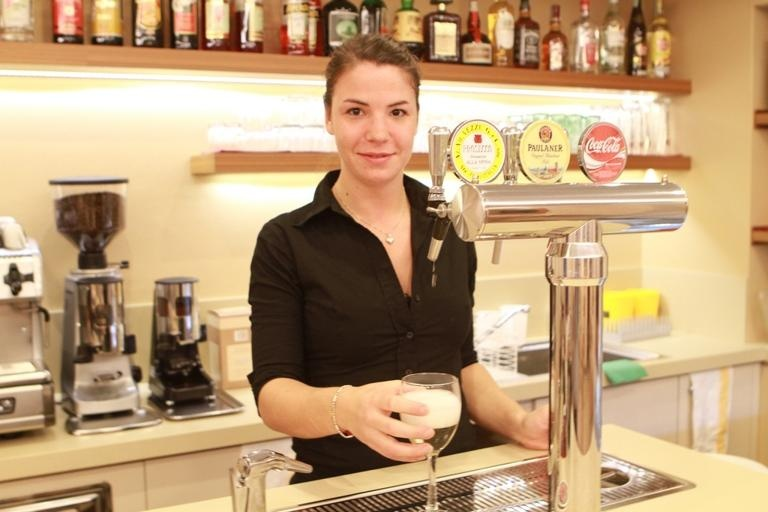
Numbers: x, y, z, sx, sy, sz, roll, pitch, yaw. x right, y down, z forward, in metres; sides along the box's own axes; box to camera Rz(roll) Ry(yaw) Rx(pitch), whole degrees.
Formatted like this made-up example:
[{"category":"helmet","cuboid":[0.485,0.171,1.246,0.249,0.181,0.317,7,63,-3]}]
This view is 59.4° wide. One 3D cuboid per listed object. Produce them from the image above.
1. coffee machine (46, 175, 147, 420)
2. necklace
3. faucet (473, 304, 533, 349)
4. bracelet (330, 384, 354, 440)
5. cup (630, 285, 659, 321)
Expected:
[{"category":"coffee machine","cuboid":[-1.052,0.134,2.452,0.335,0.832,0.384,-10,10,-26]},{"category":"necklace","cuboid":[-0.043,-0.116,1.910,0.168,0.138,0.194,-4,6,-15]},{"category":"faucet","cuboid":[0.530,0.311,3.033,0.232,0.138,0.171,4,-6,-30]},{"category":"bracelet","cuboid":[-0.098,0.322,1.375,0.029,0.102,0.087,-12,25,-22]},{"category":"cup","cuboid":[1.360,0.249,3.452,0.156,0.137,0.145,-1,-1,0]}]
